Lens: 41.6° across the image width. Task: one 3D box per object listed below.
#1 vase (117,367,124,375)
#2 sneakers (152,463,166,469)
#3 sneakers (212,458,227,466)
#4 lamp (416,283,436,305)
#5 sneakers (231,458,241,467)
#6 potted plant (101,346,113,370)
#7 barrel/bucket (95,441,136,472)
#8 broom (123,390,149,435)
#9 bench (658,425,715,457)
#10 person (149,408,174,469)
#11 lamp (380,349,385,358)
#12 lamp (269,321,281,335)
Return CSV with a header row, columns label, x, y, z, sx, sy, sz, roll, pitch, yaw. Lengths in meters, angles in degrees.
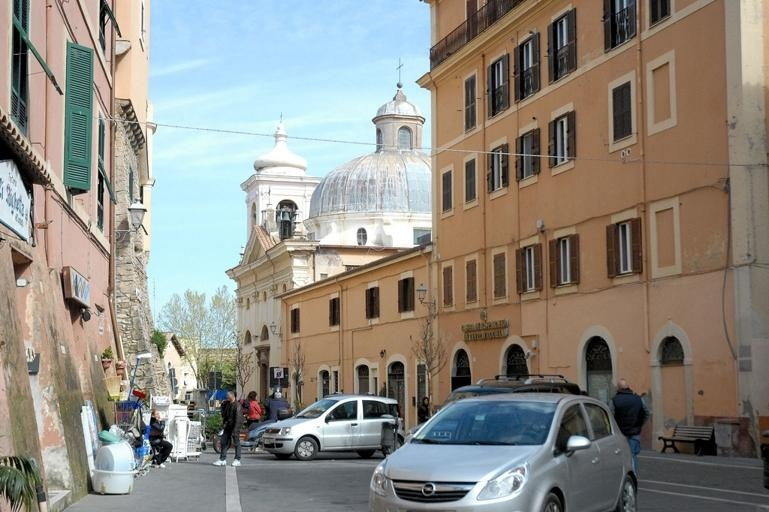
label,x,y,z,sx,sy,sz,roll,pitch,yaw
vase,-8.778,3.827,33.668,0.300,0.289,0.338,1,-5,-5
sneakers,-6.690,6.196,30.020,0.351,0.180,0.151,-3,-7,20
sneakers,-4.934,6.216,30.543,0.350,0.186,0.225,9,-12,-26
lamp,1.842,1.697,45.846,0.758,1.317,0.710,3,-6,-7
sneakers,-4.414,6.223,30.509,0.125,0.186,0.366,-6,-15,32
potted plant,-8.822,3.258,32.318,0.353,0.634,1.289,5,-3,-14
barrel/bucket,-6.325,4.767,23.927,0.667,0.736,0.708,-3,-15,-1
broom,-7.622,4.861,31.069,0.578,1.264,0.730,2,-14,-21
bench,9.491,5.709,31.643,0.561,1.055,1.952,6,-3,-30
person,-6.663,5.413,30.168,0.681,1.436,0.816,5,-3,-14
lamp,-0.066,4.875,50.768,0.301,0.523,0.330,3,-5,-38
lamp,-7.356,4.893,68.385,0.796,1.154,0.879,2,1,6
